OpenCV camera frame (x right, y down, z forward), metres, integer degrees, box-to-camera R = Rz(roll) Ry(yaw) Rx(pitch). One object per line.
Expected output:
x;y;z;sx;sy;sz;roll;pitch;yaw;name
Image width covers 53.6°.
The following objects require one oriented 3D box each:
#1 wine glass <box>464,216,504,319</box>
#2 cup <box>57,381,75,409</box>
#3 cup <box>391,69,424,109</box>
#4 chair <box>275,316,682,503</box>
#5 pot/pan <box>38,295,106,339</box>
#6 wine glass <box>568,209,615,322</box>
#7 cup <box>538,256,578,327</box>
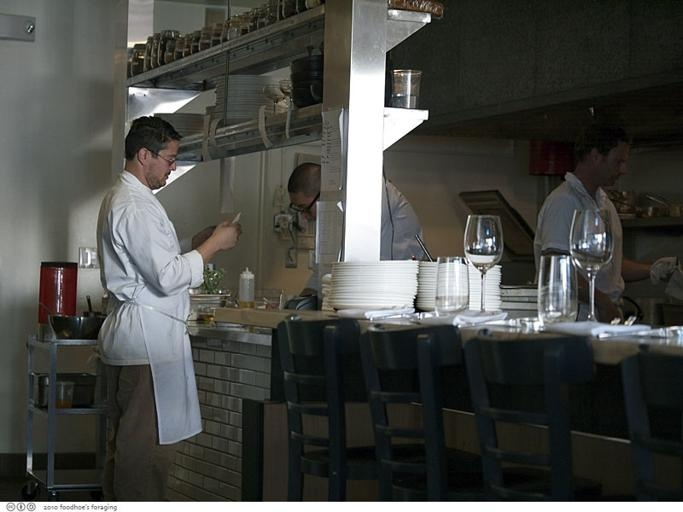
0.452;0.026;2.109;0.104;0.298;0.184;1;-1;24;wine glass
-1.711;0.862;4.165;0.129;0.148;0.133;1;-2;0;cup
0.295;-0.765;3.123;0.124;0.168;0.141;1;-1;1;cup
0.372;0.438;1.929;0.367;0.360;0.672;2;-4;-44;chair
-1.648;0.403;4.202;0.297;0.142;0.302;-2;-6;42;pot/pan
0.711;0.024;1.924;0.107;0.316;0.129;1;-1;22;wine glass
0.611;0.093;1.911;0.101;0.194;0.174;1;-1;18;cup
